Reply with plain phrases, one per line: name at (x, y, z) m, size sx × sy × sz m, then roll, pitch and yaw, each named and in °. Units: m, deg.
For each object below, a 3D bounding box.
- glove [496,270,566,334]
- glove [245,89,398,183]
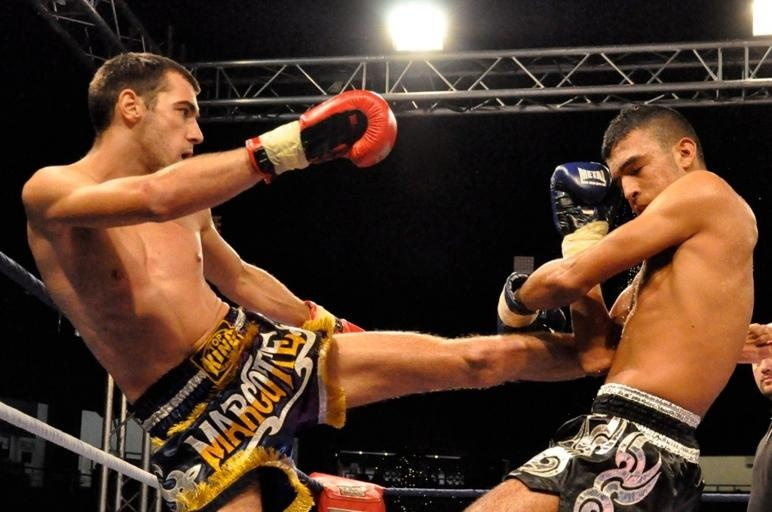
glove at (0.855, 0.316, 4.618) m, size 0.463 × 0.302 × 0.467 m, roll -3°, pitch -41°, yaw 7°
glove at (-0.324, -0.547, 4.072) m, size 0.702 × 0.423 × 0.338 m, roll -20°, pitch -20°, yaw -13°
